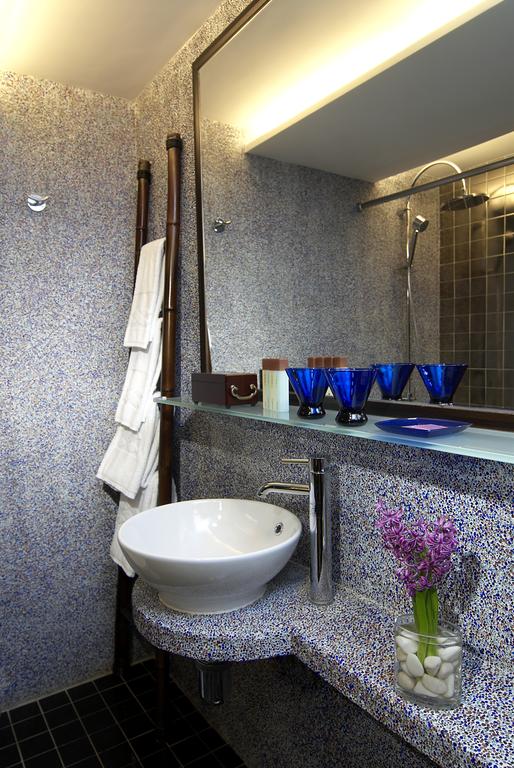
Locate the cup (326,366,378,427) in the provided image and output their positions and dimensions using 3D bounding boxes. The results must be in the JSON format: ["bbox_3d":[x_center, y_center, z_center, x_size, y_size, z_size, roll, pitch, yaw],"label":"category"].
[{"bbox_3d":[0.169,0.026,0.993,0.093,0.099,0.091,0,-3,0],"label":"cup"}]

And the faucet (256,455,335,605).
[{"bbox_3d":[0.119,0.289,1.116,0.088,0.293,0.117,-6,4,-17],"label":"faucet"}]

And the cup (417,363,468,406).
[{"bbox_3d":[0.325,0.003,0.940,0.059,0.048,0.064,-1,-2,0],"label":"cup"}]

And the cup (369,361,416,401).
[{"bbox_3d":[0.253,-0.005,1.046,0.071,0.058,0.065,0,0,0],"label":"cup"}]

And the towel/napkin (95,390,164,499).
[{"bbox_3d":[-0.397,0.208,1.878,0.244,0.334,0.093,24,12,36],"label":"towel/napkin"}]

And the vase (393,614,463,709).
[{"bbox_3d":[0.224,0.365,0.739,0.090,0.096,0.083,0,-1,-14],"label":"vase"}]

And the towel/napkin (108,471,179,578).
[{"bbox_3d":[-0.428,0.449,1.892,0.105,0.371,0.268,5,5,-39],"label":"towel/napkin"}]
